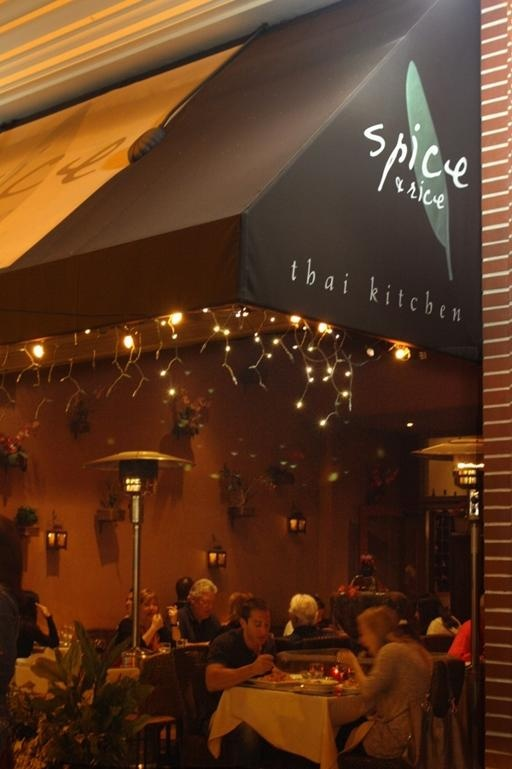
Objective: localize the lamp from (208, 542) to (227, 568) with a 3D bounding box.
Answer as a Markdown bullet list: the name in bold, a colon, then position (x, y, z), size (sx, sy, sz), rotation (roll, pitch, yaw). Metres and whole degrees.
- **lamp**: position (-0.179, 0.804, 3.778), size (0.092, 0.177, 0.103), rotation (3, -9, -11)

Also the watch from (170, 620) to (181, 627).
- **watch**: position (-0.368, 1.097, 3.665), size (0.029, 0.030, 0.011), rotation (-4, 1, 26)

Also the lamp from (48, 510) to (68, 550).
- **lamp**: position (-1.014, 0.751, 4.078), size (0.147, 0.194, 0.045), rotation (-6, -10, 40)
